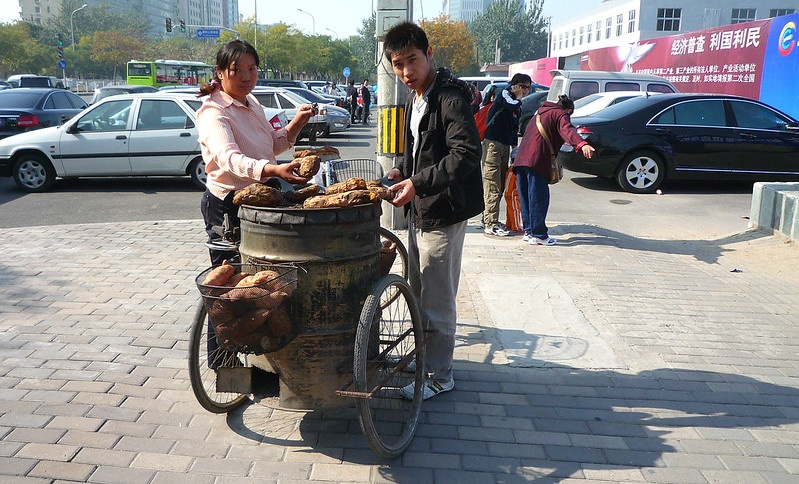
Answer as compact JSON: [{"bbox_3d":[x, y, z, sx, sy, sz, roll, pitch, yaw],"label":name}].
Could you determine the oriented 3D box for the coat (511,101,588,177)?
[{"bbox_3d":[2.288,-1.502,8.479,1.028,1.117,0.544,16,26,41],"label":"coat"}]

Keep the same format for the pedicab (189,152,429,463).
[{"bbox_3d":[-0.949,0.474,5.418,2.200,2.135,2.559,2,9,13],"label":"pedicab"}]

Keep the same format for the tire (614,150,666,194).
[{"bbox_3d":[5.293,-1.591,12.510,1.045,0.867,0.310,-4,8,2],"label":"tire"}]

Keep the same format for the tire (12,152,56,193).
[{"bbox_3d":[-7.851,-1.546,12.261,0.996,0.824,0.323,-1,7,-1],"label":"tire"}]

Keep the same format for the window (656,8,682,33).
[{"bbox_3d":[24.397,-20.195,51.328,2.862,2.485,0.222,3,10,12],"label":"window"}]

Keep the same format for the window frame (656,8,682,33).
[{"bbox_3d":[24.397,-20.195,51.328,2.862,2.485,0.222,3,10,12],"label":"window frame"}]
